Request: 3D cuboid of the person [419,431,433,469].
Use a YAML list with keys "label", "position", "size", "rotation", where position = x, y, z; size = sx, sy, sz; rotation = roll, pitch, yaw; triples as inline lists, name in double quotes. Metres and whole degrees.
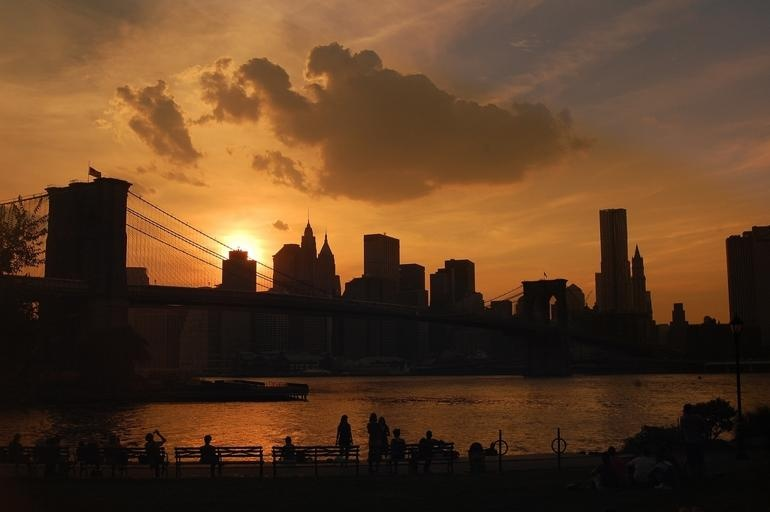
- label: "person"
  position: [2.506, 13.071, 91.882]
  size: [0.853, 2.699, 1.329]
  rotation: [-1, -13, 2]
